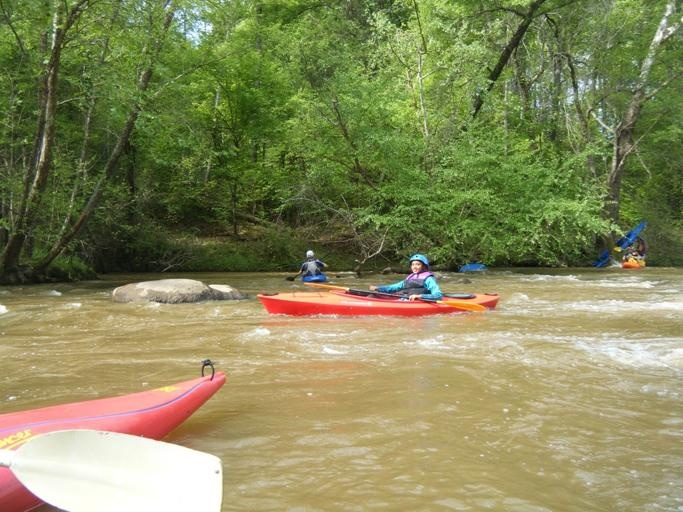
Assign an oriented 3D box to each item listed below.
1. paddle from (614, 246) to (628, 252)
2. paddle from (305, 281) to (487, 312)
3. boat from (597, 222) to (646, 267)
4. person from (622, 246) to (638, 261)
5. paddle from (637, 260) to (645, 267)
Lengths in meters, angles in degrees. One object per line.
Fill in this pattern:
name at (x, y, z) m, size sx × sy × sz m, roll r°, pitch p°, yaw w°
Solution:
paddle at (11.267, -0.248, 25.931) m, size 0.987 × 0.204 × 0.223 m, roll 1°, pitch -6°, yaw -29°
paddle at (1.098, 0.828, 12.720) m, size 2.379 × 0.169 × 0.378 m, roll 7°, pitch -1°, yaw 8°
boat at (11.088, -0.356, 25.458) m, size 3.096 × 0.289 × 0.604 m, roll -34°, pitch 18°, yaw -10°
person at (11.611, -0.066, 25.853) m, size 0.623 × 0.221 × 0.806 m, roll 14°, pitch 23°, yaw 38°
paddle at (11.975, 0.309, 25.650) m, size 0.352 × 0.182 × 0.335 m, roll -6°, pitch 8°, yaw -36°
